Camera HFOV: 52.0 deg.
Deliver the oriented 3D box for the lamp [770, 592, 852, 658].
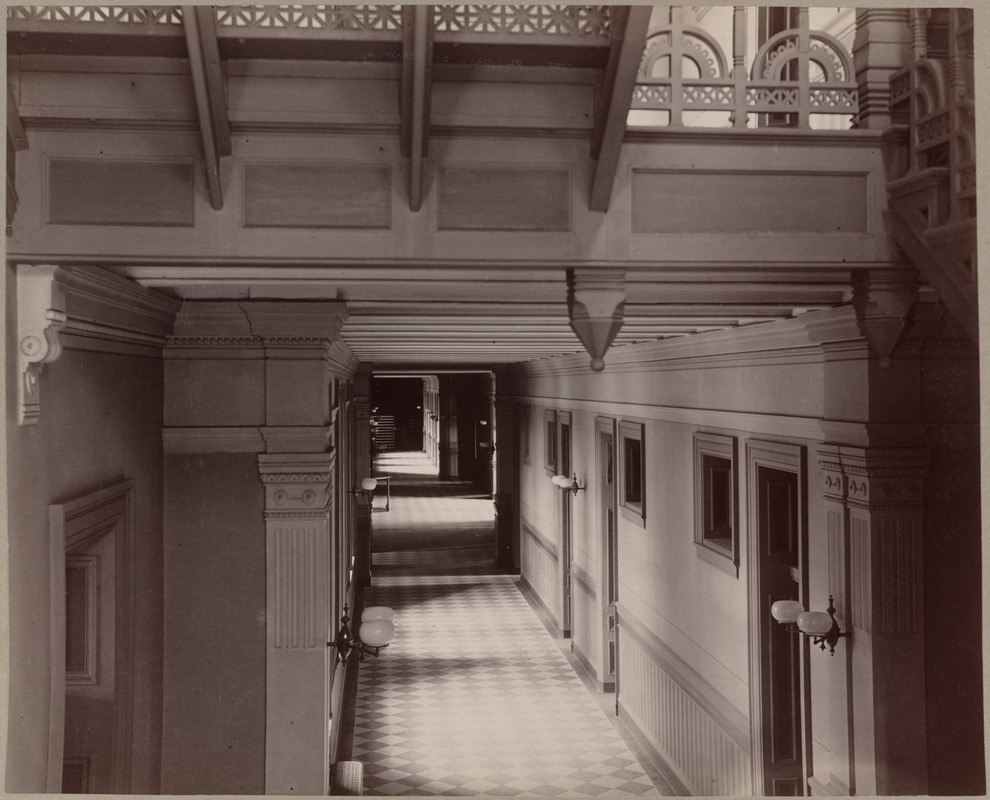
[{"bbox_3d":[1.841,1.310,5.963,0.284,0.394,0.455,-2,-6,-2],"label":"lamp"}]
